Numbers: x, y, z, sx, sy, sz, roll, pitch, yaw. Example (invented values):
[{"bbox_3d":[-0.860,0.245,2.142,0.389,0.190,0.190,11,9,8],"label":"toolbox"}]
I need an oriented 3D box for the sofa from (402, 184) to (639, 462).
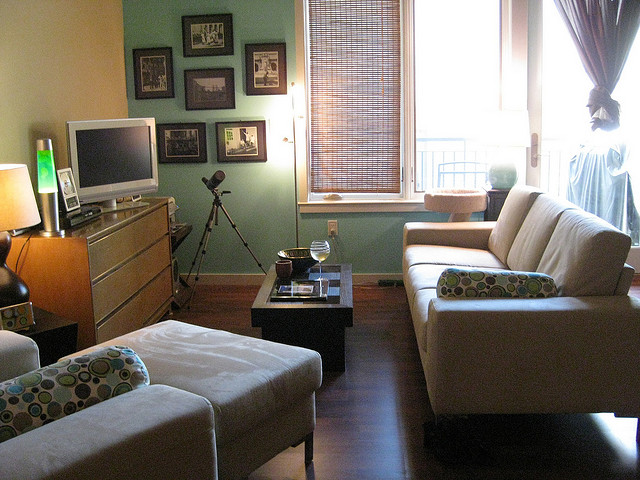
[{"bbox_3d":[1.044,0.470,2.733,0.598,0.606,1.390,1,10,10],"label":"sofa"}]

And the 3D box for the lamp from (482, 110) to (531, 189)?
[{"bbox_3d":[1.664,-0.796,4.481,0.352,0.686,0.546,6,16,29],"label":"lamp"}]

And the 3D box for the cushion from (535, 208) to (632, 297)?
[{"bbox_3d":[1.352,0.080,2.666,0.156,0.314,0.445,20,25,0],"label":"cushion"}]

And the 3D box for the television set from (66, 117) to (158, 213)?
[{"bbox_3d":[-1.517,-0.555,3.856,0.712,0.654,0.211,-3,4,8],"label":"television set"}]

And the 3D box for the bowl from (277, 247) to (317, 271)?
[{"bbox_3d":[-0.156,0.132,3.686,0.191,0.079,0.196,1,10,0],"label":"bowl"}]

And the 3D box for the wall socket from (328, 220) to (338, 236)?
[{"bbox_3d":[0.126,-0.117,4.860,0.134,0.205,0.026,0,6,1],"label":"wall socket"}]

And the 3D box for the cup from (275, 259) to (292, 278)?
[{"bbox_3d":[-0.253,0.205,3.579,0.098,0.092,0.115,1,4,13],"label":"cup"}]

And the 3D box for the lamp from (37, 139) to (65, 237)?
[{"bbox_3d":[-1.674,-0.327,3.113,0.139,0.550,0.433,-9,16,-27],"label":"lamp"}]
